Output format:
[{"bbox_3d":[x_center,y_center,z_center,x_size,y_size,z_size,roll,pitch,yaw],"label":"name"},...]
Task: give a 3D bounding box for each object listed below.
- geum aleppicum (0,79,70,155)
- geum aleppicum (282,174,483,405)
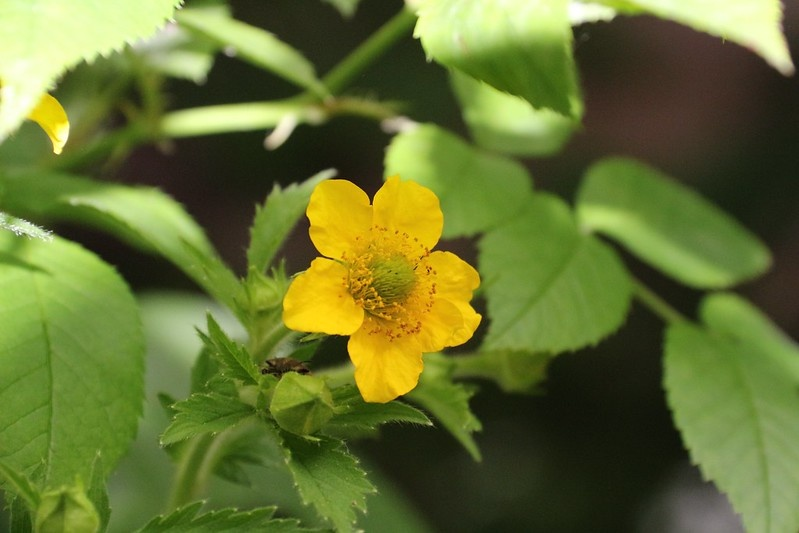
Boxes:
[{"bbox_3d":[-0.520,-0.215,1.173,0.058,0.112,0.025,-44,30,-16],"label":"geum aleppicum"},{"bbox_3d":[-0.034,0.016,1.151,0.281,0.168,0.252,-36,60,-24],"label":"geum aleppicum"}]
